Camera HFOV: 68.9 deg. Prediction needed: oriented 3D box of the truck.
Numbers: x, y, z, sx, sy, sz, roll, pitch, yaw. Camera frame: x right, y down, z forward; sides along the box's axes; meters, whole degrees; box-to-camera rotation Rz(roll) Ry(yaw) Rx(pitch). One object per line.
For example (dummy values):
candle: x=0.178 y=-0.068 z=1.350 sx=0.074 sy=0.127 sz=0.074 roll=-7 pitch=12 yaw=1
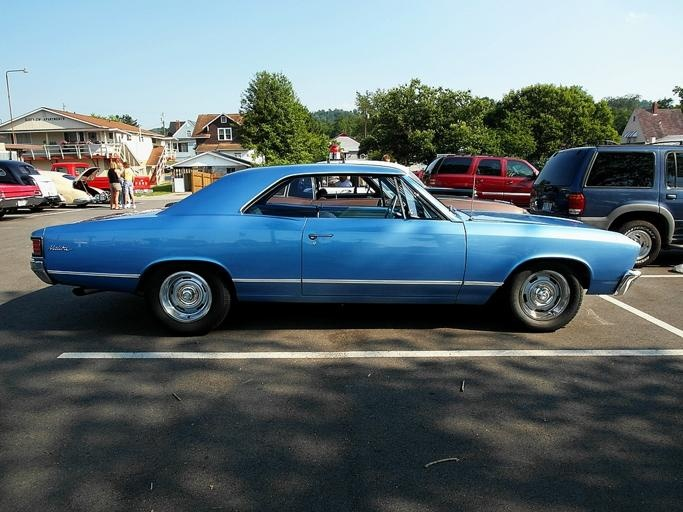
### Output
truck: x=-12.280 y=-3.366 z=23.434 sx=6.408 sy=1.901 sz=2.958 roll=1 pitch=10 yaw=3

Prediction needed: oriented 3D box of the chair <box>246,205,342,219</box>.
chair: x=-0.551 y=-0.502 z=5.692 sx=0.995 sy=0.100 sz=0.203 roll=2 pitch=6 yaw=-29

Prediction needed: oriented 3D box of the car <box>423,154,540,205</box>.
car: x=4.372 y=-2.319 z=15.338 sx=4.575 sy=1.369 sz=1.813 roll=-1 pitch=13 yaw=3

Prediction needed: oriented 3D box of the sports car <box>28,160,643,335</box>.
sports car: x=-0.170 y=-0.092 z=5.949 sx=6.863 sy=1.285 sz=2.331 roll=-1 pitch=9 yaw=-2
